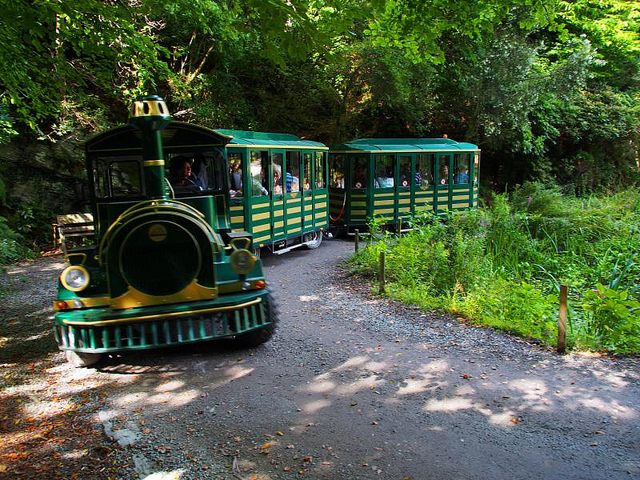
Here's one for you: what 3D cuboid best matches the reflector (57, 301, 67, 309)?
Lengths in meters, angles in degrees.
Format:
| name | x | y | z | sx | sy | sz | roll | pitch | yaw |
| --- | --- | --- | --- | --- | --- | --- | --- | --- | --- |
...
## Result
| name | x | y | z | sx | sy | sz | roll | pitch | yaw |
| --- | --- | --- | --- | --- | --- | --- | --- | --- | --- |
| reflector | -3.478 | 0.890 | 6.243 | 0.104 | 0.095 | 0.055 | -38 | 13 | -14 |

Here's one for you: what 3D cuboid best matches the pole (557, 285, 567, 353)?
| name | x | y | z | sx | sy | sz | roll | pitch | yaw |
| --- | --- | --- | --- | --- | --- | --- | --- | --- | --- |
| pole | 3.581 | 1.172 | 6.864 | 0.123 | 0.951 | 0.414 | -1 | 7 | 30 |

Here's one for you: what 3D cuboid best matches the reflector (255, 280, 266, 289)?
| name | x | y | z | sx | sy | sz | roll | pitch | yaw |
| --- | --- | --- | --- | --- | --- | --- | --- | --- | --- |
| reflector | -0.887 | 0.661 | 6.765 | 0.141 | 0.133 | 0.052 | -4 | 6 | -5 |

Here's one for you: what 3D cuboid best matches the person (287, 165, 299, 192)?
| name | x | y | z | sx | sy | sz | roll | pitch | yaw |
| --- | --- | --- | --- | --- | --- | --- | --- | --- | --- |
| person | -0.800 | -1.715 | 13.145 | 0.453 | 0.615 | 0.264 | -8 | 9 | -27 |
